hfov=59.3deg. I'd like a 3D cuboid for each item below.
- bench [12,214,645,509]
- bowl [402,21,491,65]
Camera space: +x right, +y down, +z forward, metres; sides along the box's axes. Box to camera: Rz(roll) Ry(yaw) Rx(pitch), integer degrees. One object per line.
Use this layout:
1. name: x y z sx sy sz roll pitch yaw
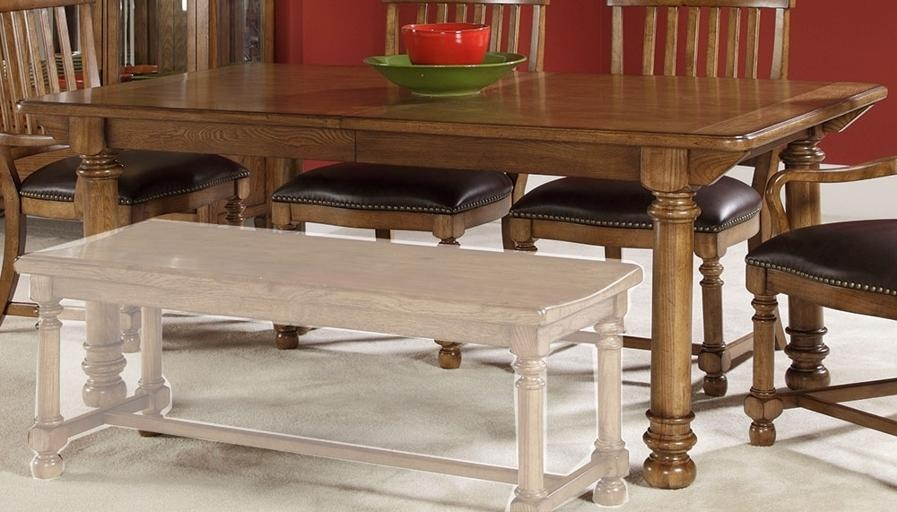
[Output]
1. bench: -0.399 0.330 2.404 1.842 0.833 0.495 1 13 15
2. bowl: -0.035 -0.729 2.761 0.290 0.103 0.253 8 13 31
